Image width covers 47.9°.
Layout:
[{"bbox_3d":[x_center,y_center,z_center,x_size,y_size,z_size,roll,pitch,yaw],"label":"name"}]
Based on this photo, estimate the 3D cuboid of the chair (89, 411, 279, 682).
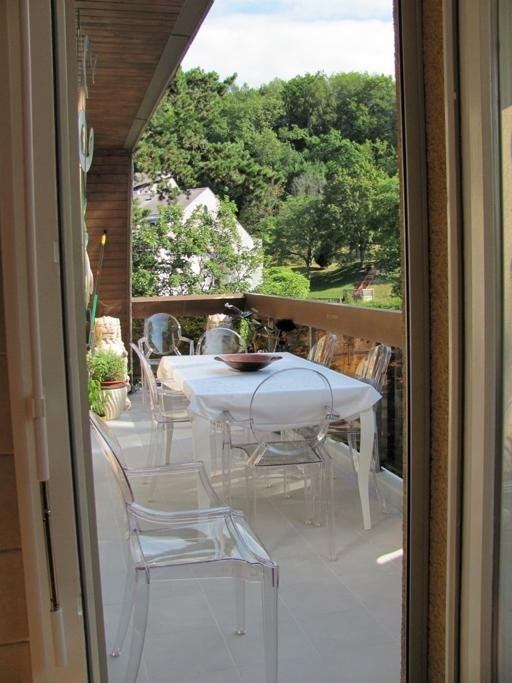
[{"bbox_3d":[-0.143,0.510,1.938,0.675,1.067,0.616,-1,5,-10],"label":"chair"}]
